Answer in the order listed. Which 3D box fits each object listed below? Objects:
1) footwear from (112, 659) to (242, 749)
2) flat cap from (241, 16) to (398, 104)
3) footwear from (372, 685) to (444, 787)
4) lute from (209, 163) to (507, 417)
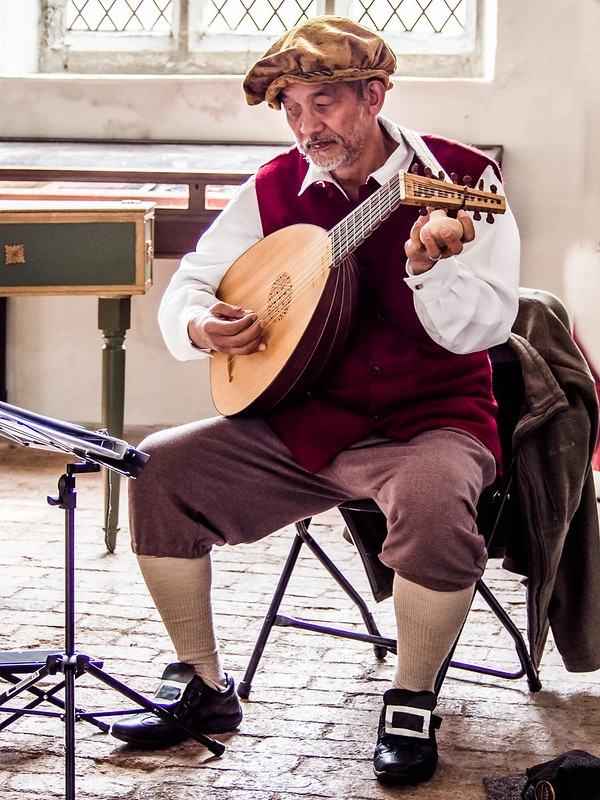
[{"bbox_3d":[-0.253,0.611,2.016,0.112,0.127,0.320,8,4,42],"label":"footwear"},{"bbox_3d":[0.040,-0.697,2.150,0.249,0.094,0.235,-5,1,-1],"label":"flat cap"},{"bbox_3d":[0.202,0.629,1.886,0.113,0.155,0.139,4,10,6],"label":"footwear"},{"bbox_3d":[0.071,-0.216,2.089,0.713,0.308,0.128,-34,-26,32],"label":"lute"}]
